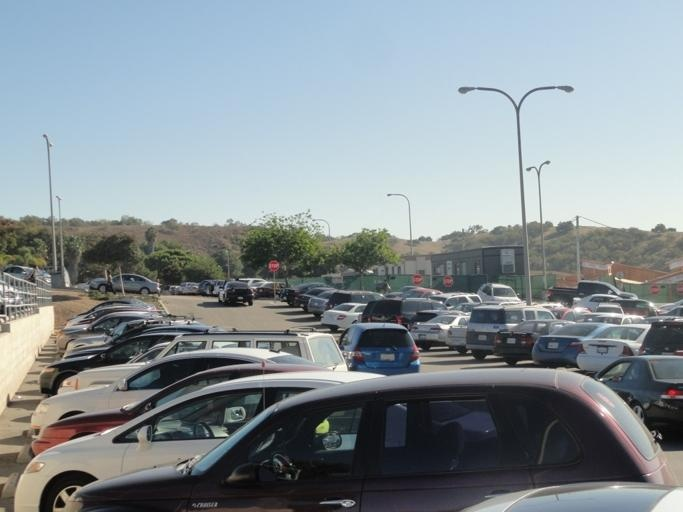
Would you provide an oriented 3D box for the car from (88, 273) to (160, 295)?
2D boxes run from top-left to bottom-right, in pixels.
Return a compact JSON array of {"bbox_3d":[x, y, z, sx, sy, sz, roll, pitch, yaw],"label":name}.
[{"bbox_3d":[-18.133,2.380,52.852,5.944,1.548,2.370,3,-1,0],"label":"car"}]
